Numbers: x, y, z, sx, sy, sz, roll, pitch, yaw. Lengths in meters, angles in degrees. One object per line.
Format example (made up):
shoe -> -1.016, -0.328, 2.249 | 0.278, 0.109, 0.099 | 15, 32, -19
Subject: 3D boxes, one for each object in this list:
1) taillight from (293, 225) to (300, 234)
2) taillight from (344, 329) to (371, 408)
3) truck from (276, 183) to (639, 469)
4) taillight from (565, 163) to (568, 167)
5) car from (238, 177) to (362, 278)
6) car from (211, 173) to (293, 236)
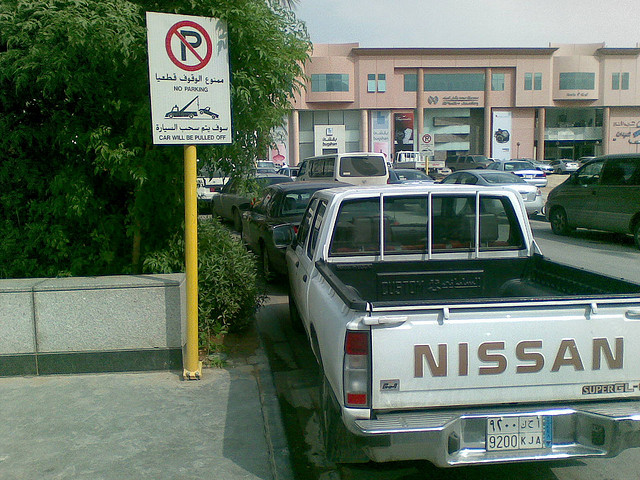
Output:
taillight -> -0.385, -0.170, 10.373 | 0.100, 0.130, 0.111 | -3, 6, -26
taillight -> 0.279, 0.961, 4.994 | 0.216, 0.566, 0.131 | 4, 13, 4
truck -> 1.009, 0.658, 6.342 | 1.860, 1.315, 3.229 | -2, 14, -9
taillight -> 19.715, -6.049, 54.159 | 0.193, 0.153, 0.318 | -1, 26, 5
car -> -0.662, -0.337, 12.030 | 1.252, 0.930, 2.747 | -3, 13, -14
car -> -2.037, -1.016, 15.623 | 1.444, 1.048, 3.137 | -3, 12, -16
